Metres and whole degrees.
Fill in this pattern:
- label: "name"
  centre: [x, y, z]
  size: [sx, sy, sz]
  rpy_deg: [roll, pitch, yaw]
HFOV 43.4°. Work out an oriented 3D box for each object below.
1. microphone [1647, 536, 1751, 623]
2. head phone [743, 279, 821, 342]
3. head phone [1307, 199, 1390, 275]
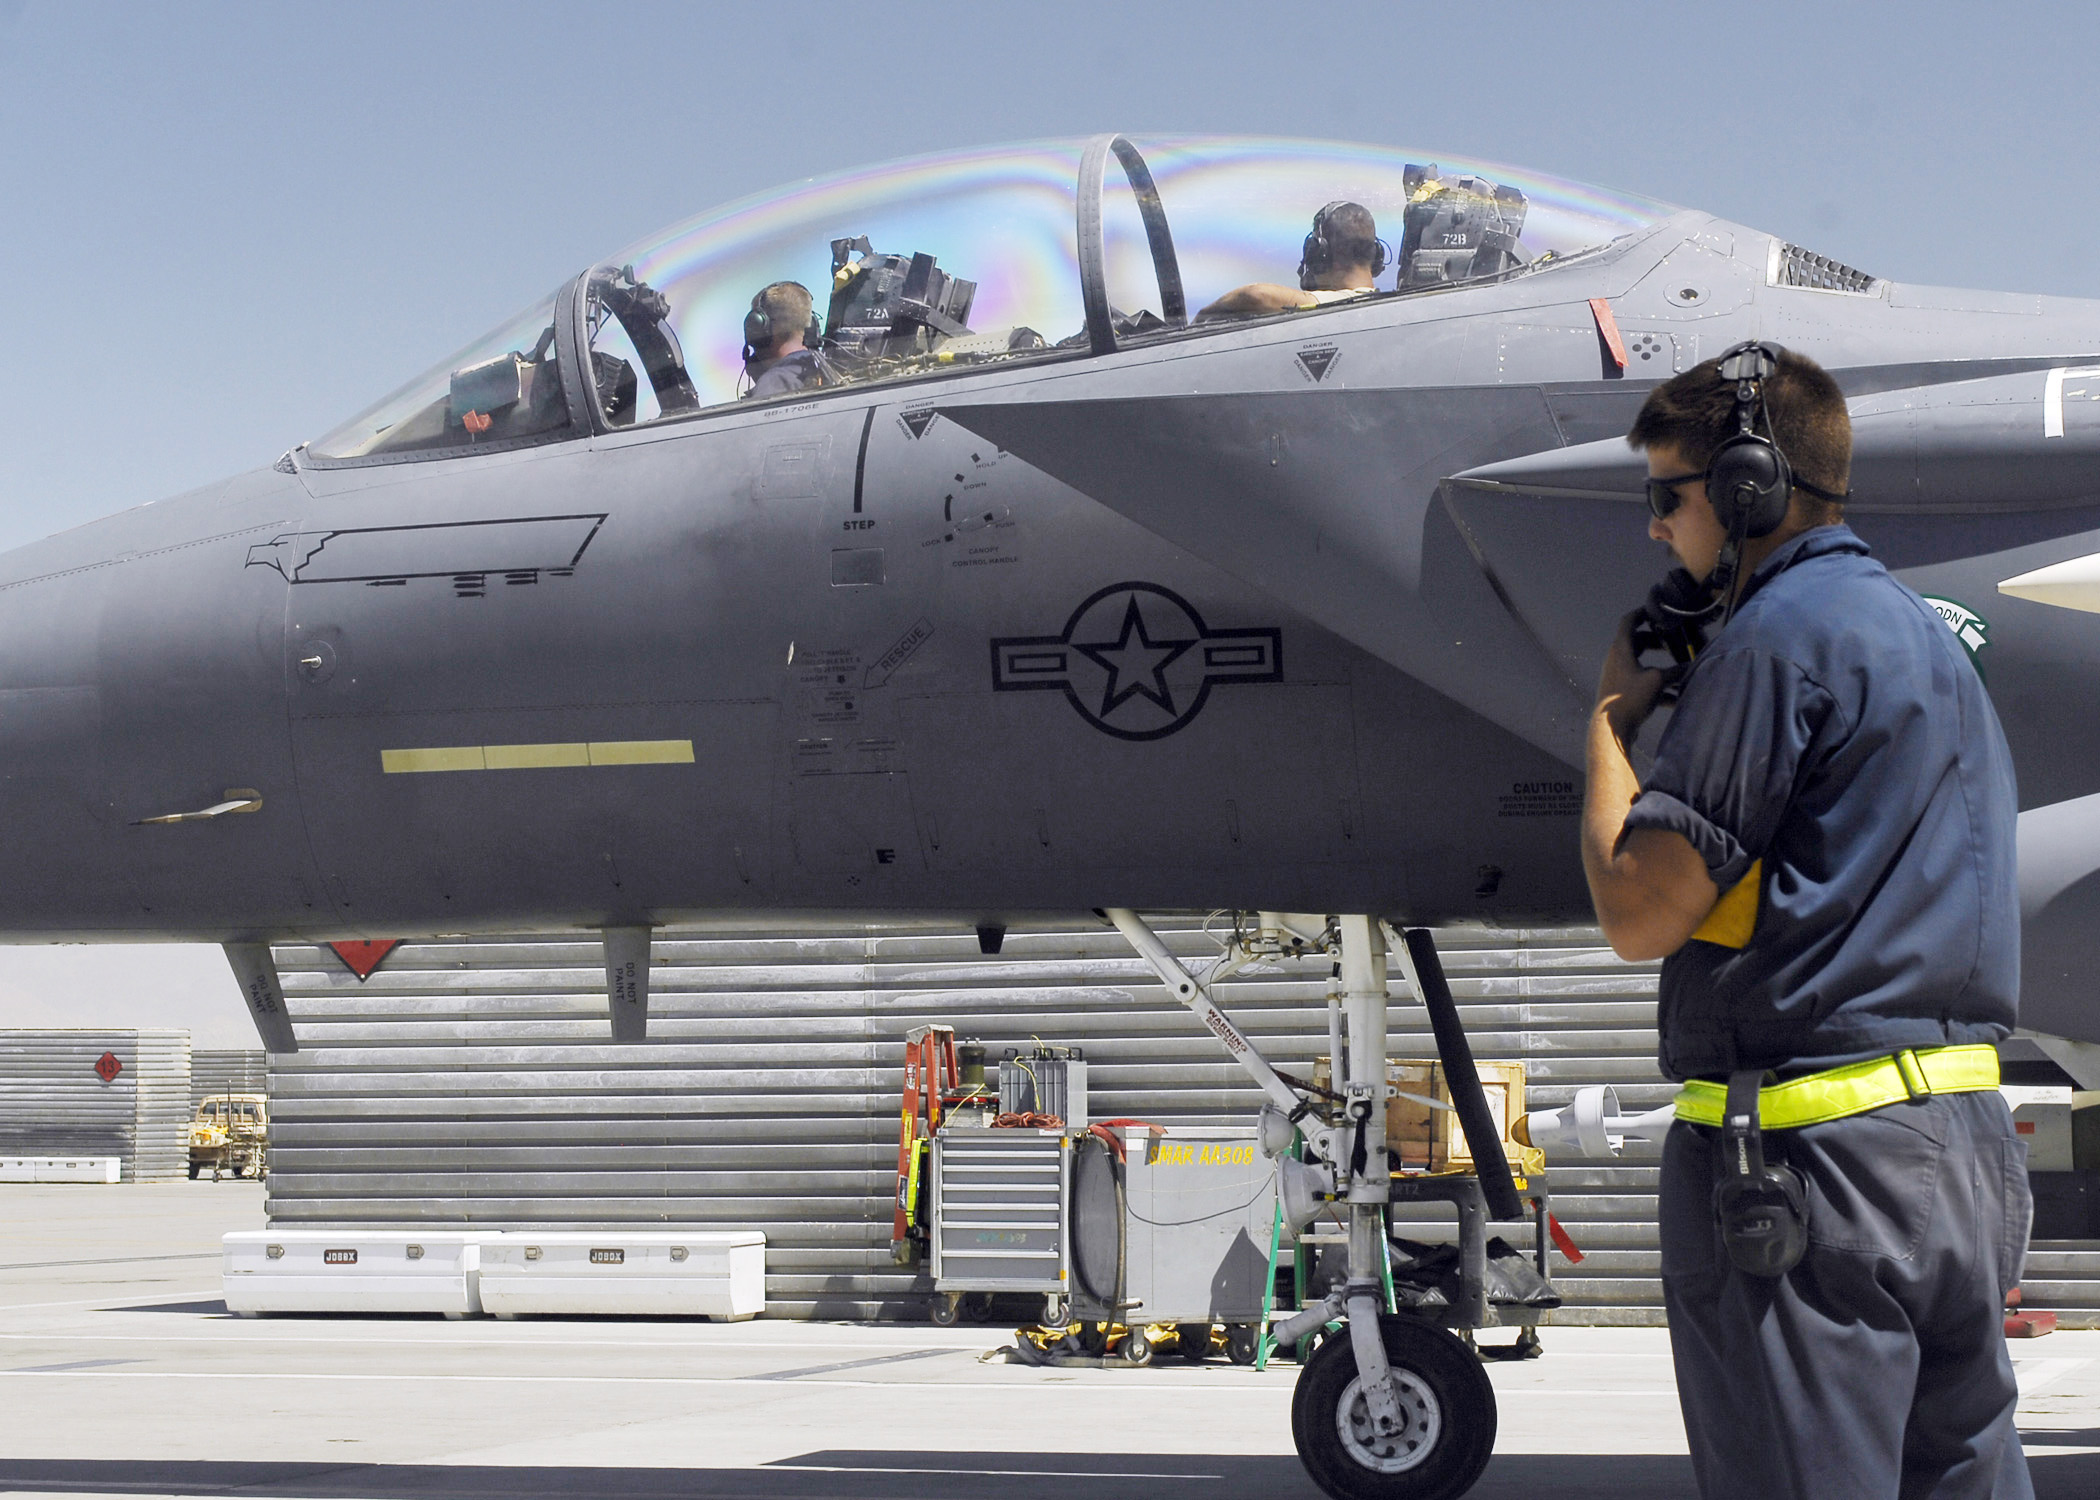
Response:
- label: "microphone"
  centre: [1.823, -0.469, 7.373]
  size: [0.248, 0.097, 0.167]
  rpy_deg: [13, -8, -19]
- label: "head phone"
  centre: [-1.064, -1.754, 10.512]
  size: [0.226, 0.153, 0.296]
  rpy_deg: [-15, 0, -15]
- label: "head phone"
  centre: [1.157, -1.997, 10.231]
  size: [0.264, 0.232, 0.307]
  rpy_deg: [-1, -20, 0]
